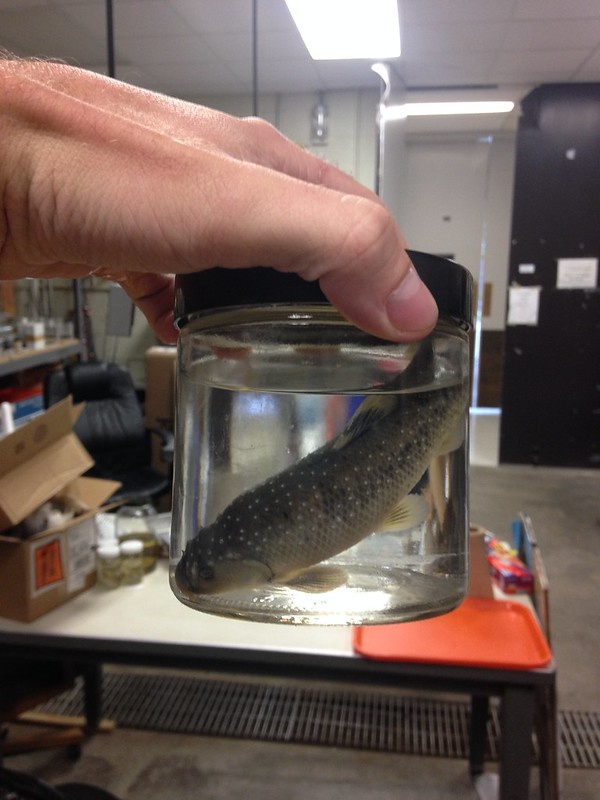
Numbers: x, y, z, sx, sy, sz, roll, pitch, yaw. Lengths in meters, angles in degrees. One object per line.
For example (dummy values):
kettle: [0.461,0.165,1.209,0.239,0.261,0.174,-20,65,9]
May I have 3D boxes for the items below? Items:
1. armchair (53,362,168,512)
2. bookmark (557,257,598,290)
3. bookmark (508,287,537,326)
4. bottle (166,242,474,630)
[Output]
armchair: [-0.736,0.167,2.526,0.392,0.525,0.453,2,32,10]
bookmark: [0.376,-0.171,0.914,0.048,0.048,0.012,0,-7,27]
bookmark: [0.319,-0.134,0.961,0.008,0.049,0.056,4,-1,-29]
bottle: [0.017,0.018,0.476,0.193,0.217,0.195,1,-1,-25]
